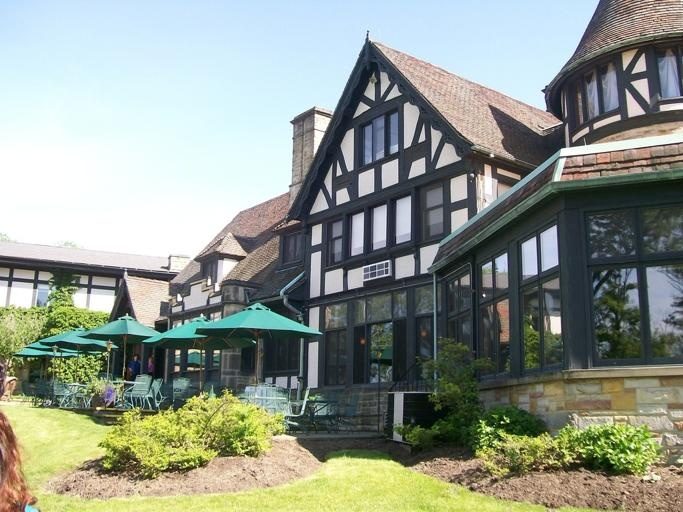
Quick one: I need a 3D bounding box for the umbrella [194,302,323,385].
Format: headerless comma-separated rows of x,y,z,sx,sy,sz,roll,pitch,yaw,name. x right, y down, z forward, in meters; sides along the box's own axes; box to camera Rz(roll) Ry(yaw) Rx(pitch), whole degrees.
-2.307,2.063,16.791,2.622,1.659,2.610,-3,-2,-27,umbrella

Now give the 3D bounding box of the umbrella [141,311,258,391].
-4.220,3.139,19.029,3.040,2.127,2.954,1,-17,-16,umbrella

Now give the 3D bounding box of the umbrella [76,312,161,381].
-7.478,3.090,21.669,2.429,2.053,2.403,6,-1,-30,umbrella
